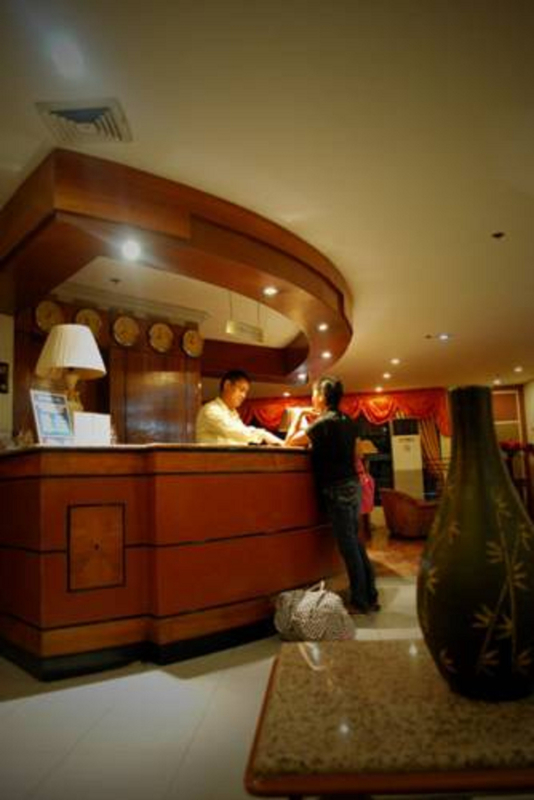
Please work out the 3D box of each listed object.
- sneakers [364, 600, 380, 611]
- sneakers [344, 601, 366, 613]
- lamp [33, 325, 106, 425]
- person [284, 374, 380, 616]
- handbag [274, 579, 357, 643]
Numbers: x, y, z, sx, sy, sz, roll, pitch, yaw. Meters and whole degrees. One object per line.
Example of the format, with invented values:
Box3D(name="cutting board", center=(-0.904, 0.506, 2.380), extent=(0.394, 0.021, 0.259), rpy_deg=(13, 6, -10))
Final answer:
Box3D(name="sneakers", center=(0.677, 1.309, 3.509), extent=(0.075, 0.047, 0.157), rpy_deg=(-4, -10, 11))
Box3D(name="sneakers", center=(0.542, 1.278, 3.414), extent=(0.114, 0.050, 0.050), rpy_deg=(10, -12, 0))
Box3D(name="lamp", center=(-1.102, -0.144, 3.073), extent=(0.356, 0.536, 0.549), rpy_deg=(1, -10, -19))
Box3D(name="person", center=(0.427, 0.625, 3.770), extent=(0.574, 1.503, 0.736), rpy_deg=(-3, -9, 4))
Box3D(name="handbag", center=(0.248, 1.079, 2.776), extent=(0.319, 0.297, 0.510), rpy_deg=(3, -11, -30))
